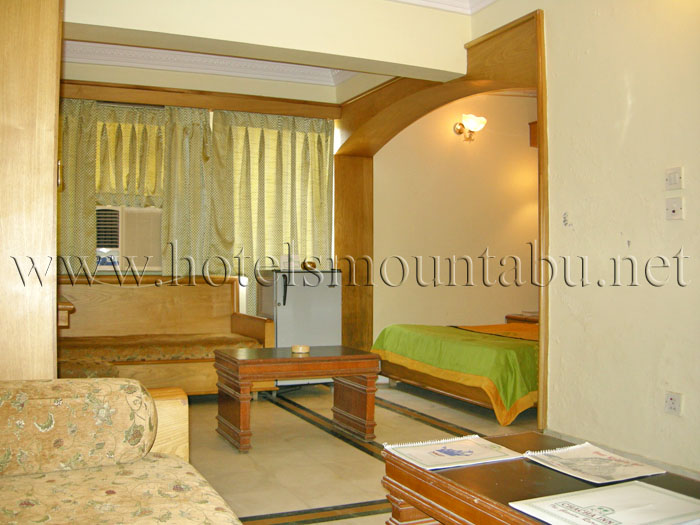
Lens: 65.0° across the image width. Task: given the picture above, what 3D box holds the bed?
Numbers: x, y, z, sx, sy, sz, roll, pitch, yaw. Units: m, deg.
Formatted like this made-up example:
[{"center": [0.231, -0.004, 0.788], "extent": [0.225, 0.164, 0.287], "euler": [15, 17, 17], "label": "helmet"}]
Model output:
[{"center": [1.020, 0.911, 4.979], "extent": [1.073, 0.273, 1.032], "euler": [0, 3, -33], "label": "bed"}]

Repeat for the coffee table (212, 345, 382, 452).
[{"center": [-0.473, 0.777, 4.218], "extent": [1.208, 0.595, 0.732], "euler": [0, 4, -25], "label": "coffee table"}]

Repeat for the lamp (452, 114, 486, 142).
[{"center": [1.512, -1.709, 7.143], "extent": [0.407, 0.273, 0.394], "euler": [0, 4, -21], "label": "lamp"}]
